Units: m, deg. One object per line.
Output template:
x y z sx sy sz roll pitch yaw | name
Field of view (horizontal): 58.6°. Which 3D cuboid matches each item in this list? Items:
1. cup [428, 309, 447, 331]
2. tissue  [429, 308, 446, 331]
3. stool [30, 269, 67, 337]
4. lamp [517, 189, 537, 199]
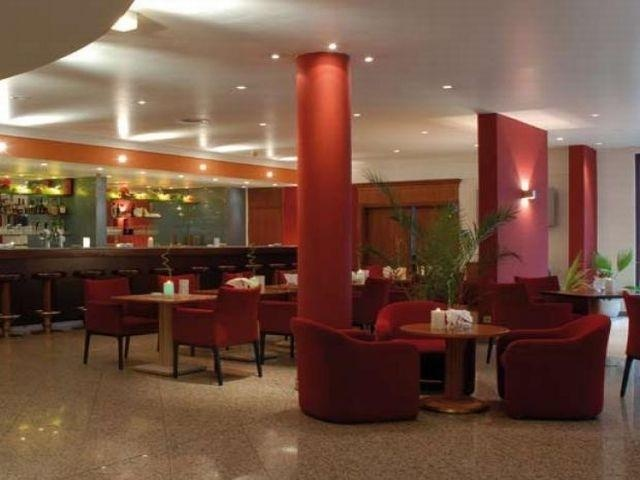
1.174 0.812 5.791 0.233 0.182 0.197 0 -2 -1 | cup
1.188 0.811 5.801 0.230 0.181 0.193 0 -5 3 | tissue 
-4.821 1.111 10.199 0.507 1.062 0.547 -2 3 -36 | stool
3.856 -0.852 10.550 0.445 0.192 0.093 2 25 28 | lamp
